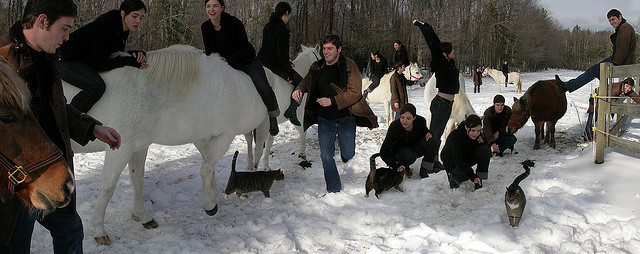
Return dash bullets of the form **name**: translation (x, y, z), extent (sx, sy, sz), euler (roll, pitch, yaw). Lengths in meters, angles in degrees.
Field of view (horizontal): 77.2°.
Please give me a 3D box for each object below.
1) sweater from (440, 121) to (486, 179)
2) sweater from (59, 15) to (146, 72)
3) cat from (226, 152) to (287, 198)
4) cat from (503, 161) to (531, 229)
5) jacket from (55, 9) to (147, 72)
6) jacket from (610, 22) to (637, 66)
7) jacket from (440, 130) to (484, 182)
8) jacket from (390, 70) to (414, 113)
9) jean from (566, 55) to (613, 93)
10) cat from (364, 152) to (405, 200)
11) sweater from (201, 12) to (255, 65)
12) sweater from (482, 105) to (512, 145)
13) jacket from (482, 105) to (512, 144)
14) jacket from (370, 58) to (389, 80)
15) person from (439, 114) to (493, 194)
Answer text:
- **sweater**: translation (4.761, 0.692, 13.476), extent (1.606, 1.800, 1.589), euler (11, 25, 41)
- **sweater**: translation (-6.579, -2.454, 11.922), extent (2.721, 1.209, 1.503), euler (1, 17, 1)
- **cat**: translation (-2.117, 1.730, 13.003), extent (2.163, 1.213, 0.616), euler (7, 2, -34)
- **cat**: translation (5.857, 2.214, 12.038), extent (0.546, 1.299, 1.217), euler (10, 20, 24)
- **jacket**: translation (-6.563, -2.559, 11.939), extent (2.681, 1.181, 1.579), euler (5, 17, 4)
- **jacket**: translation (11.166, -3.004, 14.537), extent (0.919, 1.448, 0.855), euler (6, 20, 15)
- **jacket**: translation (4.599, 0.900, 13.171), extent (1.189, 1.516, 0.753), euler (6, 20, 14)
- **jacket**: translation (3.255, -1.396, 16.563), extent (0.802, 1.748, 1.156), euler (4, 19, 9)
- **jean**: translation (9.365, -1.798, 14.039), extent (1.440, 0.820, 0.442), euler (-27, -32, 9)
- **cat**: translation (2.133, 1.629, 13.014), extent (1.309, 1.306, 0.624), euler (2, 19, 4)
- **sweater**: translation (-2.956, -2.951, 13.181), extent (1.594, 1.493, 1.429), euler (-14, 22, -28)
- **sweater**: translation (6.476, -0.027, 14.785), extent (1.194, 1.349, 0.576), euler (-5, -7, 0)
- **jacket**: translation (6.461, -0.074, 14.666), extent (1.144, 1.294, 0.566), euler (-2, -8, 0)
- **jacket**: translation (3.162, -2.879, 20.174), extent (1.337, 1.308, 0.797), euler (1, 12, 14)
- **person**: translation (4.789, 0.831, 13.088), extent (1.564, 2.338, 1.005), euler (4, 19, 9)
